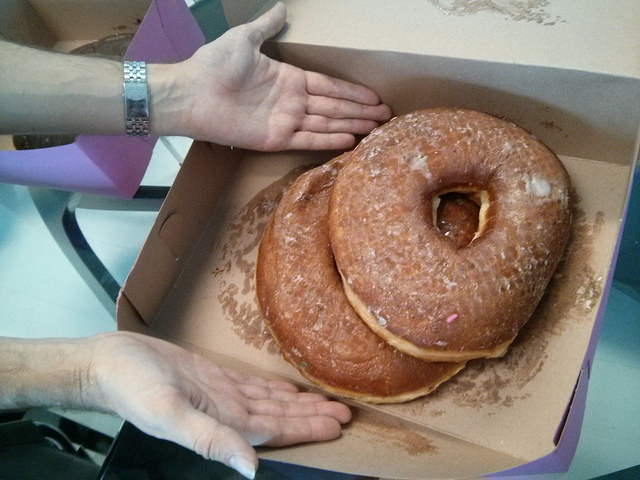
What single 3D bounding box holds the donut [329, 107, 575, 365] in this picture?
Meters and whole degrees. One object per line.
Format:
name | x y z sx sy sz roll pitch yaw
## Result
donut | 0.223 -0.036 0.914 0.417 0.091 0.468 31 81 4
